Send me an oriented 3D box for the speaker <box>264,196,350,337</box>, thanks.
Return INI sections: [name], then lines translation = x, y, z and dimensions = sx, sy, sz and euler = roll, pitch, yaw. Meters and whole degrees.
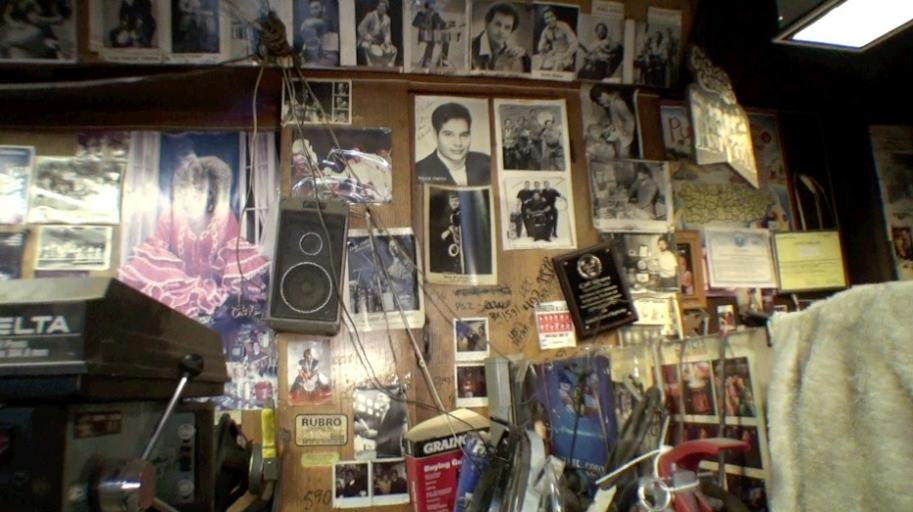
[speaker]
translation = -0.789, 0.009, 3.681
dimensions = 0.365, 0.599, 0.608
euler = 4, 18, -18
